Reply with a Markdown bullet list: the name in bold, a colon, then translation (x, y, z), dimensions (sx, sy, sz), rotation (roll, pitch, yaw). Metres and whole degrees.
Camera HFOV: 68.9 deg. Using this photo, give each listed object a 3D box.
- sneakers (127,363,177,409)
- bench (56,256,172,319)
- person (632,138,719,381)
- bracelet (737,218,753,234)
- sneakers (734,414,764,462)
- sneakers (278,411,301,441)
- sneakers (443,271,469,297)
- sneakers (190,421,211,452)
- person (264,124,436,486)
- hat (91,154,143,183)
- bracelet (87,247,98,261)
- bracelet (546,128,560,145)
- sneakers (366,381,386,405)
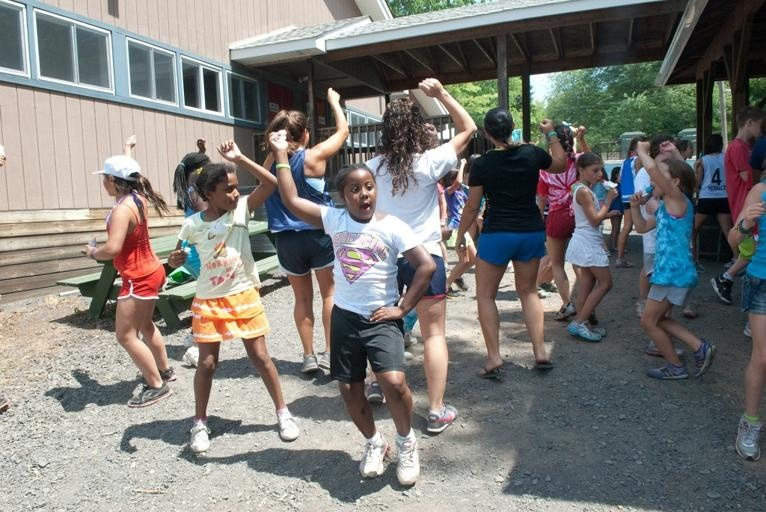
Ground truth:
- **sneakers**: translation (-2.497, 1.447, 6.201), dimensions (0.579, 0.263, 0.213), rotation (-22, 11, -17)
- **bench**: translation (-3.522, 0.452, 7.309), dimensions (0.406, 0.221, 0.837), rotation (25, 23, 2)
- **person**: translation (3.126, 0.031, 6.035), dimensions (0.776, 2.493, 0.804), rotation (0, 14, 24)
- **bracelet**: translation (3.301, -0.270, 5.086), dimensions (0.118, 0.087, 0.122), rotation (-7, 33, -8)
- **sneakers**: translation (3.302, 1.582, 5.024), dimensions (0.156, 0.183, 0.462), rotation (1, 44, 23)
- **sneakers**: translation (-0.926, 1.673, 5.461), dimensions (0.137, 0.139, 0.343), rotation (-7, 1, -21)
- **sneakers**: translation (1.262, 0.510, 9.395), dimensions (0.626, 0.276, 0.235), rotation (3, 9, -11)
- **sneakers**: translation (-1.760, 1.732, 5.370), dimensions (0.142, 0.151, 0.358), rotation (1, 5, -22)
- **person**: translation (-0.139, 0.604, 4.879), dimensions (1.271, 2.826, 0.585), rotation (-4, 13, 7)
- **hat**: translation (-2.856, -0.938, 5.971), dimensions (0.454, 0.237, 0.331), rotation (1, 8, 0)
- **bracelet**: translation (-2.946, -0.020, 5.648), dimensions (0.072, 0.152, 0.269), rotation (-13, 16, -30)
- **bracelet**: translation (1.900, -1.312, 6.254), dimensions (0.137, 0.057, 0.157), rotation (1, 49, 5)
- **sneakers**: translation (-0.062, 1.444, 5.865), dimensions (0.168, 0.190, 0.473), rotation (-1, 4, -2)
